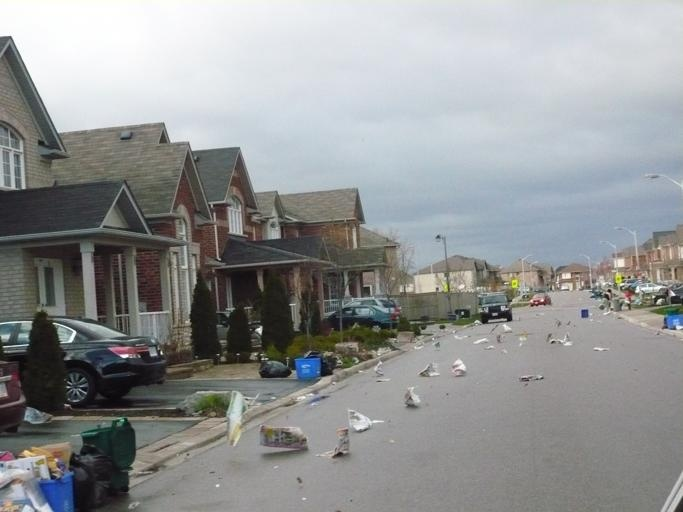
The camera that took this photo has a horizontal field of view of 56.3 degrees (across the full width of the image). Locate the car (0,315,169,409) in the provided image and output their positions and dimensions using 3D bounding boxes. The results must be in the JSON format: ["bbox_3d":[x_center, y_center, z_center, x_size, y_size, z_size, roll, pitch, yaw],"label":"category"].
[{"bbox_3d":[-5.736,2.275,14.094,3.480,2.123,1.809,-8,-5,-5],"label":"car"}]

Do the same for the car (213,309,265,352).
[{"bbox_3d":[-4.686,3.357,28.569,2.864,1.407,1.655,-1,0,10],"label":"car"}]

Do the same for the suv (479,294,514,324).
[{"bbox_3d":[9.990,3.392,41.648,1.395,1.245,2.671,-4,-9,13],"label":"suv"}]

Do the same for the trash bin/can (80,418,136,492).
[{"bbox_3d":[-2.882,2.545,8.008,0.680,0.897,0.482,-4,-7,-40],"label":"trash bin/can"}]

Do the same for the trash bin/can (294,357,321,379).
[{"bbox_3d":[-0.970,3.173,18.060,0.612,0.506,0.600,-1,-2,28],"label":"trash bin/can"}]

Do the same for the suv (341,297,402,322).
[{"bbox_3d":[1.768,3.063,36.172,2.935,1.203,1.326,1,-1,15],"label":"suv"}]

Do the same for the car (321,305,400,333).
[{"bbox_3d":[1.030,3.511,34.604,3.483,1.192,1.575,3,-3,5],"label":"car"}]

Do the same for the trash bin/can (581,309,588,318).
[{"bbox_3d":[15.211,3.665,40.006,0.301,0.371,0.551,-1,-2,21],"label":"trash bin/can"}]
